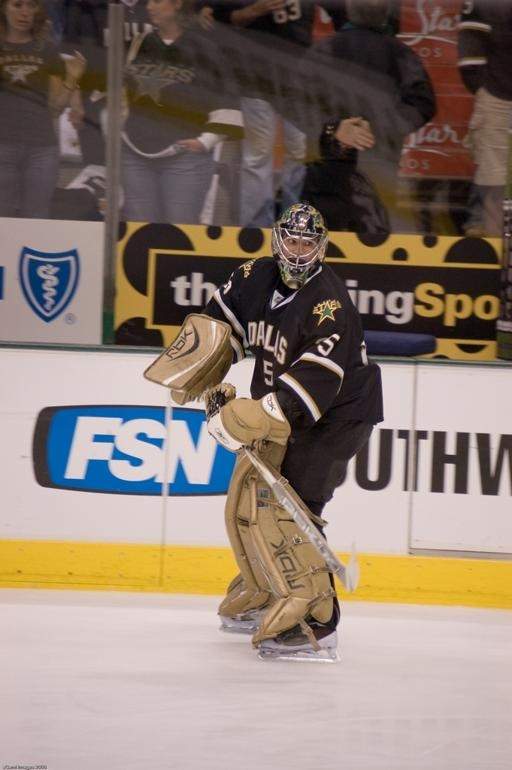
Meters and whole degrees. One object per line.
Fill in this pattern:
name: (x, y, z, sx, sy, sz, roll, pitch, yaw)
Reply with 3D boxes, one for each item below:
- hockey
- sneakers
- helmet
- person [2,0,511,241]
hockey: (0.157, 0.439, 3.215, 0.435, 0.466, 0.245, 5, 11, -2)
sneakers: (0.163, 0.835, 3.215, 0.248, 0.075, 0.172, -1, 36, -5)
helmet: (0.142, -0.475, 3.225, 0.184, 0.293, 0.177, 8, 11, 14)
person: (-0.033, -1.283, 4.350, 2.338, 1.149, 0.489, 3, 12, -10)
